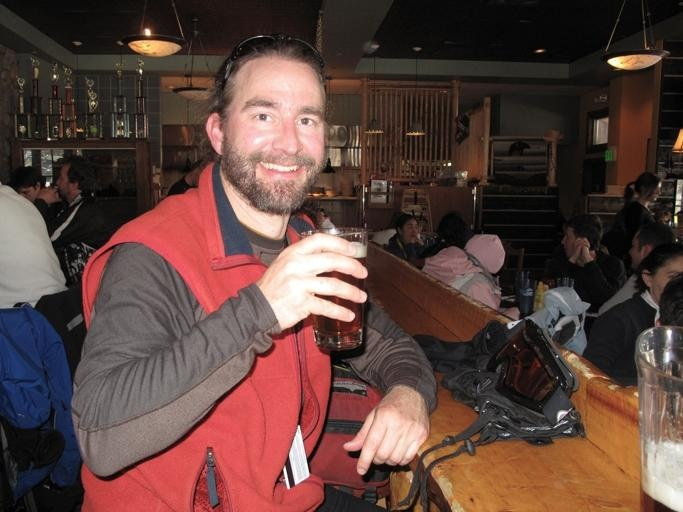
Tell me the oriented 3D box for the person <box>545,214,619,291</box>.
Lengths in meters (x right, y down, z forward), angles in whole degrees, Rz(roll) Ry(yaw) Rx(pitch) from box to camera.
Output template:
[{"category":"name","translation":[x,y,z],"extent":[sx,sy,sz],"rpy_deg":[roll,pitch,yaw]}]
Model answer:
[{"category":"person","translation":[2.112,0.032,4.395],"extent":[0.474,0.745,0.597],"rpy_deg":[10,-4,-22]}]
